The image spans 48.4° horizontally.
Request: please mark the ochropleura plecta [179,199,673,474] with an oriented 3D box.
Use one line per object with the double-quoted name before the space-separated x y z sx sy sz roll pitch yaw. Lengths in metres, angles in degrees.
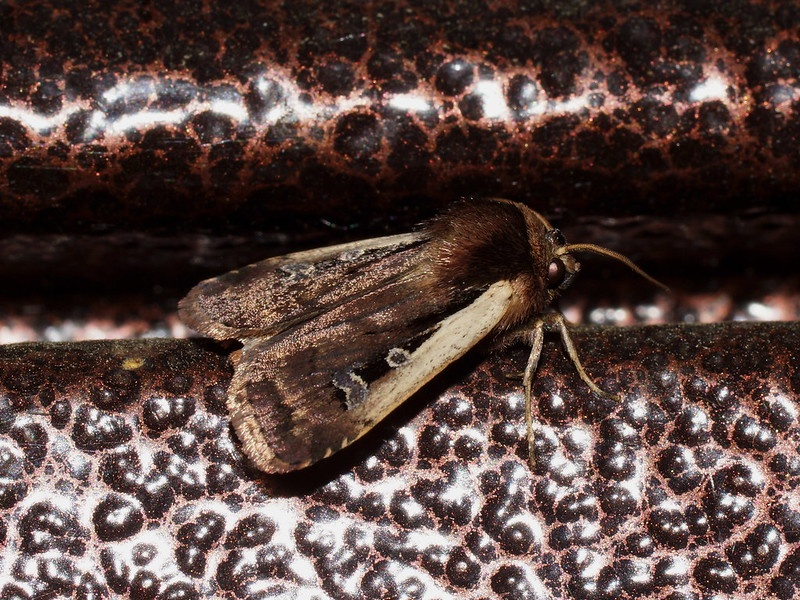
"ochropleura plecta" 0.017 0.044 0.961 0.415 0.120 0.261 -15 63 -10
